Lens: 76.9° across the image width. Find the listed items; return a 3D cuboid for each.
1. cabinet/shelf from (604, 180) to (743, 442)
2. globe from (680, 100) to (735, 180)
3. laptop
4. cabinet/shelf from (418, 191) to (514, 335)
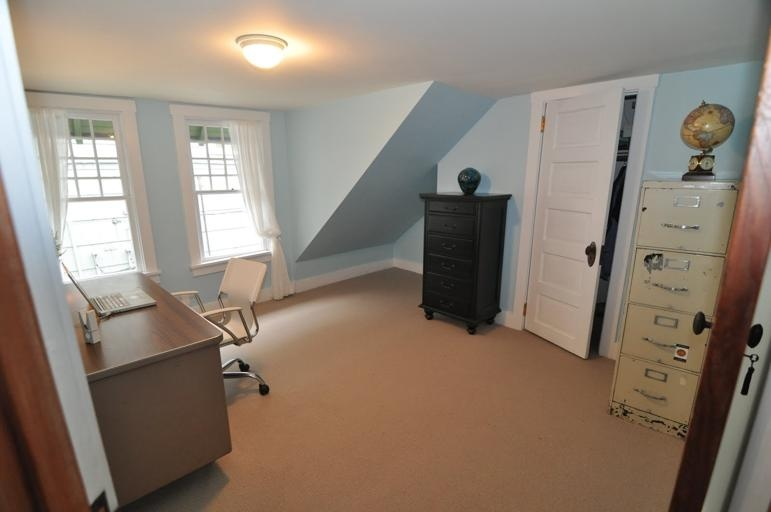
[{"bbox_3d":[1.953,0.235,3.467,0.716,1.990,0.831,-15,21,-40],"label":"cabinet/shelf"},{"bbox_3d":[2.047,-0.765,3.147,0.247,0.542,0.305,1,13,-32],"label":"globe"},{"bbox_3d":[-1.857,0.178,3.347,0.585,0.319,0.812,1,13,-22],"label":"laptop"},{"bbox_3d":[0.723,0.053,4.685,0.719,1.281,0.522,14,21,42],"label":"cabinet/shelf"}]
